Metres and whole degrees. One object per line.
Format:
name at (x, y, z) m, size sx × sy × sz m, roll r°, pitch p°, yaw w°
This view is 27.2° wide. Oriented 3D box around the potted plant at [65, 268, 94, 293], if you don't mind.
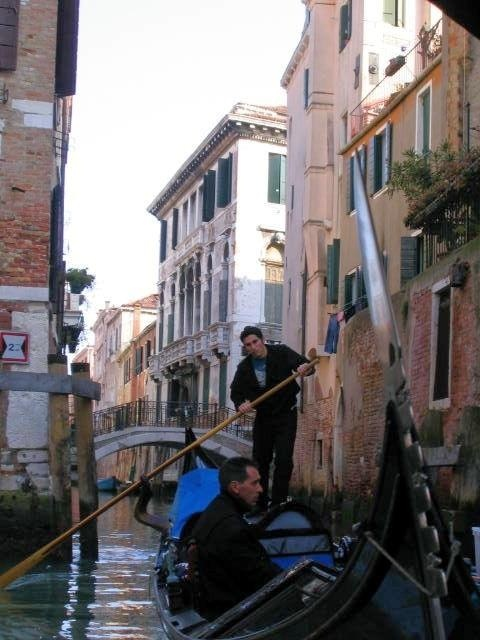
potted plant at (-6.523, -1.628, 40.428) m, size 0.913 × 1.268 × 1.557 m, roll -1°, pitch -6°, yaw 9°
